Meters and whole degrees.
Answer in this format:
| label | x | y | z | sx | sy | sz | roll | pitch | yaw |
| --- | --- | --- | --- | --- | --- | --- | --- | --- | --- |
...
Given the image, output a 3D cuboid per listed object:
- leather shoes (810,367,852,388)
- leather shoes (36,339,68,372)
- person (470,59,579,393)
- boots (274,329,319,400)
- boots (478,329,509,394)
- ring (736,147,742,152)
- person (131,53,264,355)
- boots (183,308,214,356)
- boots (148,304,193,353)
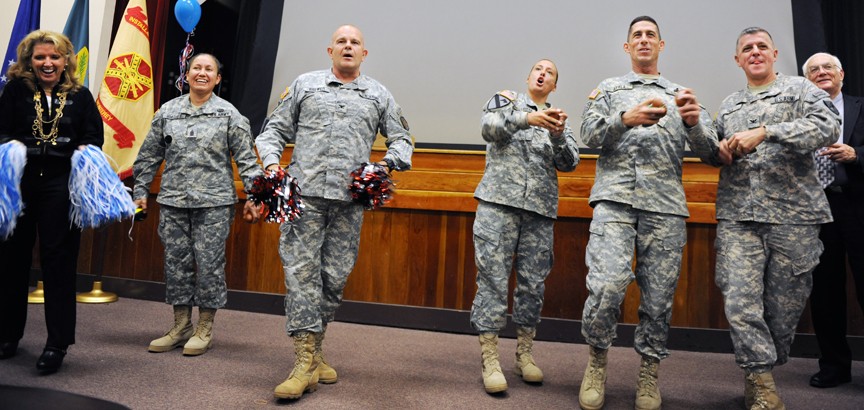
| label | x | y | z | sx | sy | sz | roll | pitch | yaw |
| --- | --- | --- | --- | --- | --- | --- | --- | --- | --- |
| leather shoes | 4.213 | 1.759 | 6.307 | 0.553 | 0.189 | 0.166 | 3 | -13 | -13 |
| leather shoes | -3.786 | 1.495 | 6.053 | 0.238 | 0.335 | 0.133 | 6 | -2 | -28 |
| person | 0.893 | 0.150 | 6.215 | 0.984 | 2.338 | 0.748 | 6 | -2 | -2 |
| boots | -1.322 | 1.524 | 5.825 | 0.299 | 0.569 | 0.671 | -4 | -6 | 14 |
| boots | 0.618 | 1.542 | 6.119 | 0.310 | 0.417 | 0.363 | 5 | -2 | 5 |
| ring | 2.895 | -0.519 | 5.740 | 0.037 | 0.030 | 0.009 | -18 | 1 | -15 |
| person | -2.568 | -0.050 | 6.641 | 1.334 | 3.085 | 0.345 | 5 | -3 | 6 |
| boots | -2.526 | 1.331 | 6.581 | 0.269 | 0.471 | 0.305 | 6 | -2 | -13 |
| boots | -2.842 | 1.334 | 6.595 | 0.229 | 0.400 | 0.513 | 3 | 3 | 43 |
